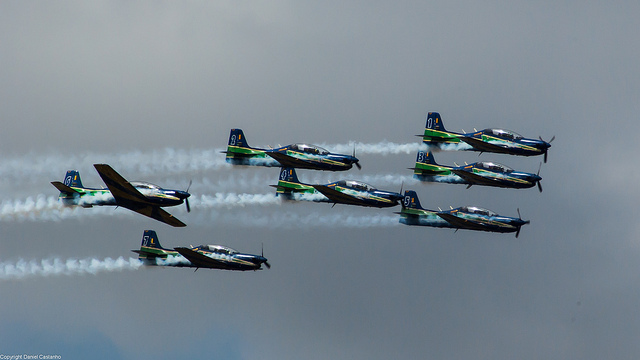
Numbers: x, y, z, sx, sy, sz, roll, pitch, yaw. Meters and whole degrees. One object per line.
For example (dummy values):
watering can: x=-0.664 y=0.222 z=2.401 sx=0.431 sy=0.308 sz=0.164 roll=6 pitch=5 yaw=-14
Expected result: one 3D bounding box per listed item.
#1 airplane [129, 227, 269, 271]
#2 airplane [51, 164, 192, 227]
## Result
airplane: x=-8.473 y=4.721 z=74.585 sx=8.572 sy=2.657 sz=7.112 roll=1 pitch=-5 yaw=6
airplane: x=-13.653 y=0.797 z=76.547 sx=9.036 sy=3.444 sz=4.776 roll=1 pitch=-5 yaw=1
